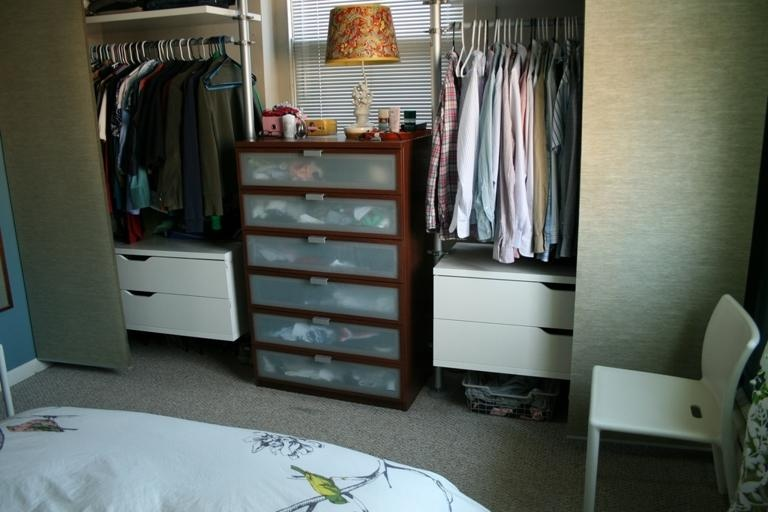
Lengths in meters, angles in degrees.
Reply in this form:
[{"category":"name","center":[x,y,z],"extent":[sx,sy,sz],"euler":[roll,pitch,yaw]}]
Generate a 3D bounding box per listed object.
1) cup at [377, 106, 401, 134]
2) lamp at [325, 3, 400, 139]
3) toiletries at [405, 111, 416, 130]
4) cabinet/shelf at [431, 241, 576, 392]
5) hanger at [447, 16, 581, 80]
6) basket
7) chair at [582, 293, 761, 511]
[{"category":"cup","center":[0.040,-0.734,3.246],"extent":[0.182,0.163,0.100],"euler":[5,13,17]},{"category":"lamp","center":[-0.107,-0.999,3.253],"extent":[0.450,0.650,0.350],"euler":[4,20,13]},{"category":"toiletries","center":[0.135,-0.726,3.236],"extent":[0.070,0.105,0.148],"euler":[3,20,9]},{"category":"cabinet/shelf","center":[0.675,0.234,3.390],"extent":[0.913,0.711,0.602],"euler":[3,9,19]},{"category":"hanger","center":[0.699,-1.122,3.229],"extent":[0.662,0.301,0.567],"euler":[5,20,15]},{"category":"basket","center":[0.699,0.757,3.292],"extent":[0.378,0.129,0.270],"euler":[1,10,16]},{"category":"chair","center":[1.166,0.585,2.526],"extent":[0.606,0.749,0.538],"euler":[5,20,13]}]
